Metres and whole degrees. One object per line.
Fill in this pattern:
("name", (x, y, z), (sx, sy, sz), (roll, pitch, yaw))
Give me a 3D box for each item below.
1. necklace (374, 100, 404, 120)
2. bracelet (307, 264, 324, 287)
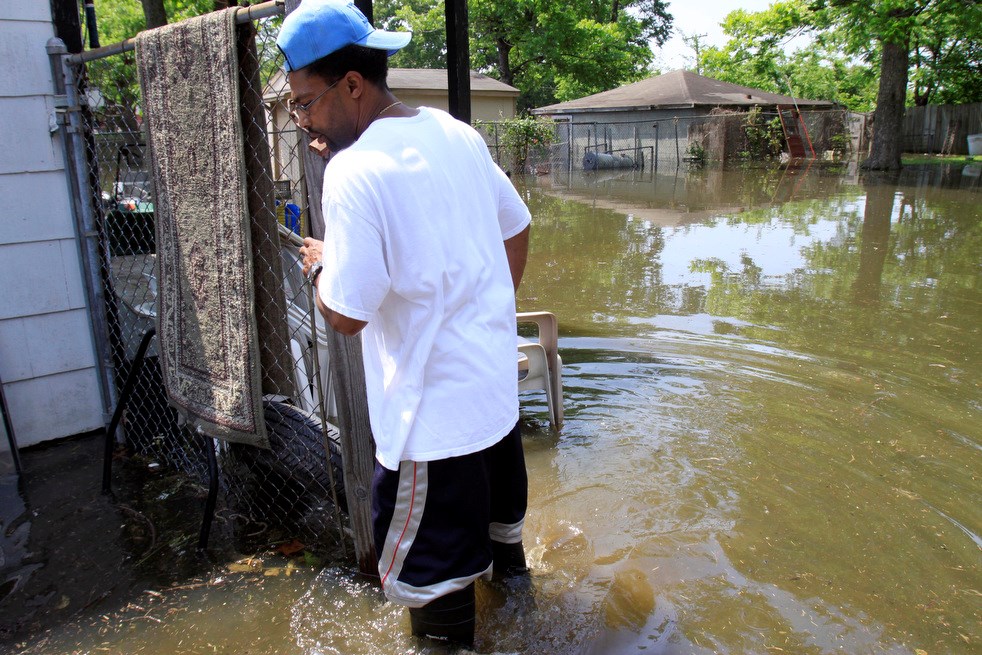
("necklace", (-0.446, -0.948, 3.275), (0.110, 0.032, 0.087), (-25, 1, 35))
("bracelet", (-0.787, -0.229, 3.325), (0.039, 0.124, 0.081), (12, -9, -35))
